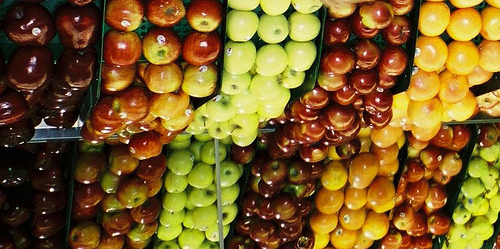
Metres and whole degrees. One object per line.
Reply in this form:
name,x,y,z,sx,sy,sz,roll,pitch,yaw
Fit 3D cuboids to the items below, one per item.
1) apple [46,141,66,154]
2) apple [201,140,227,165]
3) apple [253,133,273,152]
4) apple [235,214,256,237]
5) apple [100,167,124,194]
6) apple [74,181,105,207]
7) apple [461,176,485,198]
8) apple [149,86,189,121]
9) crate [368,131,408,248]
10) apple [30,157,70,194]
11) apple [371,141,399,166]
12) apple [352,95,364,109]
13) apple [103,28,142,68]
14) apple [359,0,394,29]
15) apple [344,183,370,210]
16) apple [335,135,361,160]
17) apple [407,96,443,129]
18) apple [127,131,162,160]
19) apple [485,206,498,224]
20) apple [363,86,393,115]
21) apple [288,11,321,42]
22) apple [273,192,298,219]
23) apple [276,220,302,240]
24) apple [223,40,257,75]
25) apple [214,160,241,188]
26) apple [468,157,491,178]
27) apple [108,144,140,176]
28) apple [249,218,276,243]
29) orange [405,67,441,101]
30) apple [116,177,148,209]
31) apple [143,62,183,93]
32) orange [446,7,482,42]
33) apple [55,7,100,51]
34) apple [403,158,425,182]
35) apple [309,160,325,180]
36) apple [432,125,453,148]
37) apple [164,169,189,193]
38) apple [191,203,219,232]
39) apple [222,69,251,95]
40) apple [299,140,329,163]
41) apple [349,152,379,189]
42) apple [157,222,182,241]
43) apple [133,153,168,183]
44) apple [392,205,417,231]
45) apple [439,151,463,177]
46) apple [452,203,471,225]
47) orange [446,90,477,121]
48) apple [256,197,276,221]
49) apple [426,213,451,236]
apple,-1.400,0.163,2.822,0.128,0.089,0.044,6,-10,-25
apple,-0.302,0.219,3.191,0.206,0.175,0.176,1,-4,-5
apple,0.092,0.148,3.256,0.158,0.164,0.139,26,-10,1
apple,-0.057,0.862,3.409,0.193,0.166,0.175,-2,7,-14
apple,-1.040,0.441,2.991,0.165,0.189,0.163,-31,-45,30
apple,-1.205,0.500,2.990,0.206,0.190,0.194,-6,22,-31
apple,1.986,0.554,3.550,0.219,0.188,0.197,9,23,22
apple,-0.539,-0.137,2.706,0.229,0.232,0.227,31,3,-22
crate,1.274,0.522,3.427,0.280,0.818,0.971,12,15,21
apple,-1.450,0.361,2.839,0.265,0.230,0.147,-6,9,-29
apple,1.118,0.227,3.301,0.205,0.205,0.191,16,-4,-26
apple,0.787,-0.160,2.831,0.036,0.085,0.089,27,23,-18
apple,-0.831,-0.497,2.539,0.264,0.226,0.253,3,29,-15
apple,0.832,-0.730,2.632,0.192,0.188,0.113,41,7,-5
apple,0.888,0.609,3.333,0.180,0.218,0.175,13,-17,-24
apple,0.799,0.185,3.148,0.190,0.183,0.190,-10,-15,43
apple,1.276,-0.092,2.838,0.238,0.210,0.131,-4,-1,5
apple,-0.749,0.124,2.864,0.234,0.164,0.168,-22,20,-19
apple,2.288,0.862,3.698,0.131,0.146,0.088,-3,10,2
apple,0.884,-0.158,2.818,0.194,0.178,0.203,16,-34,-3
apple,0.358,-0.667,2.621,0.202,0.208,0.195,12,24,28
apple,0.280,0.644,3.218,0.175,0.211,0.166,26,-5,7
apple,0.323,0.889,3.261,0.176,0.187,0.112,16,15,-10
apple,-0.061,-0.454,2.652,0.232,0.241,0.215,10,35,-2
apple,-0.174,0.393,3.142,0.216,0.195,0.214,3,3,-6
apple,2.060,0.376,3.511,0.228,0.178,0.077,5,-9,-12
apple,-0.950,0.269,3.016,0.241,0.218,0.221,-18,-14,-18
apple,0.098,0.872,3.225,0.165,0.151,0.216,11,-9,38
orange,1.230,-0.298,2.779,0.247,0.217,0.122,3,6,4
apple,-0.892,0.480,2.995,0.228,0.203,0.216,-15,18,-39
apple,-0.545,-0.302,2.557,0.225,0.187,0.207,0,5,9
orange,1.464,-0.679,2.693,0.243,0.212,0.120,2,3,-1
apple,-1.022,-0.583,2.333,0.263,0.249,0.246,-1,-7,-9
apple,1.400,0.412,3.462,0.205,0.174,0.189,7,-24,-9
apple,0.548,0.372,3.257,0.125,0.141,0.085,7,7,-6
apple,1.629,0.116,3.330,0.182,0.166,0.175,-13,-20,23
apple,-0.586,0.453,3.137,0.150,0.178,0.146,7,-3,-12
apple,-0.367,0.762,3.227,0.261,0.169,0.184,-1,11,12
apple,-0.091,-0.287,2.631,0.175,0.151,0.164,0,11,-5
apple,0.498,0.210,3.118,0.193,0.180,0.108,-31,19,10
apple,0.903,0.360,3.303,0.231,0.275,0.221,14,6,-16
apple,-0.657,0.874,3.171,0.142,0.163,0.096,-20,41,-5
apple,-0.788,0.298,3.029,0.327,0.159,0.240,-2,2,-2
apple,1.376,0.821,3.535,0.226,0.208,0.258,-22,-23,15
apple,1.769,0.332,3.454,0.178,0.172,0.189,33,-29,15
apple,1.941,0.817,3.638,0.166,0.186,0.111,-6,-2,2
orange,1.575,-0.140,2.905,0.224,0.200,0.119,-4,0,26
apple,0.136,0.686,3.183,0.144,0.164,0.096,-6,-12,-3
apple,1.680,0.906,3.592,0.235,0.196,0.214,0,-22,13
